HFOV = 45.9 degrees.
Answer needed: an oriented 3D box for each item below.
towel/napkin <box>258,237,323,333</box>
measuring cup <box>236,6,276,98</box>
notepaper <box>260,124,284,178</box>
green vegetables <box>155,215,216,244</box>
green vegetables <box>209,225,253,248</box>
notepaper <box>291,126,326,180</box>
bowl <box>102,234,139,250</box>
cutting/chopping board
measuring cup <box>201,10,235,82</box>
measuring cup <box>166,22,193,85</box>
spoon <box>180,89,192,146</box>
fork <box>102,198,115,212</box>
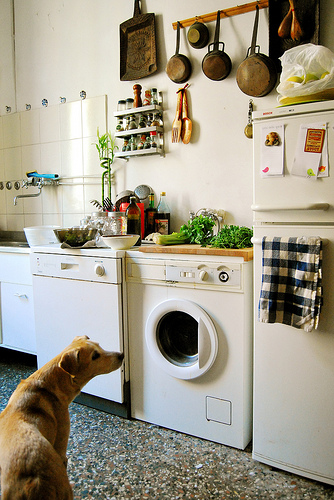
[{"bbox_3d":[0.451,0.120,1.454,0.222,0.331,0.055,2,5,31],"label":"towel/napkin"},{"bbox_3d":[0.447,-0.957,2.019,0.102,0.482,0.168,1,11,1],"label":"measuring cup"},{"bbox_3d":[0.403,-0.372,1.516,0.083,0.192,0.079,4,9,27],"label":"notepaper"},{"bbox_3d":[0.111,-0.103,2.033,0.238,0.149,0.374,2,5,24],"label":"green vegetables"},{"bbox_3d":[0.313,-0.080,1.920,0.188,0.116,0.192,4,7,28],"label":"green vegetables"},{"bbox_3d":[0.510,-0.356,1.470,0.092,0.183,0.104,-3,12,-19],"label":"notepaper"},{"bbox_3d":[-0.238,-0.038,2.032,0.143,0.071,0.162,2,6,32],"label":"bowl"},{"bbox_3d":[0.150,-0.021,1.797,0.468,0.066,0.350,3,8,33],"label":"cutting/chopping board"},{"bbox_3d":[0.268,-1.116,2.174,0.150,0.346,0.152,-1,4,0],"label":"measuring cup"},{"bbox_3d":[0.063,-1.157,2.326,0.144,0.339,0.089,3,5,40],"label":"measuring cup"},{"bbox_3d":[0.111,-0.790,2.356,0.042,0.301,0.067,-11,10,-41],"label":"spoon"},{"bbox_3d":[-0.382,-0.292,2.562,0.018,0.126,0.018,-31,-10,26],"label":"fork"}]
